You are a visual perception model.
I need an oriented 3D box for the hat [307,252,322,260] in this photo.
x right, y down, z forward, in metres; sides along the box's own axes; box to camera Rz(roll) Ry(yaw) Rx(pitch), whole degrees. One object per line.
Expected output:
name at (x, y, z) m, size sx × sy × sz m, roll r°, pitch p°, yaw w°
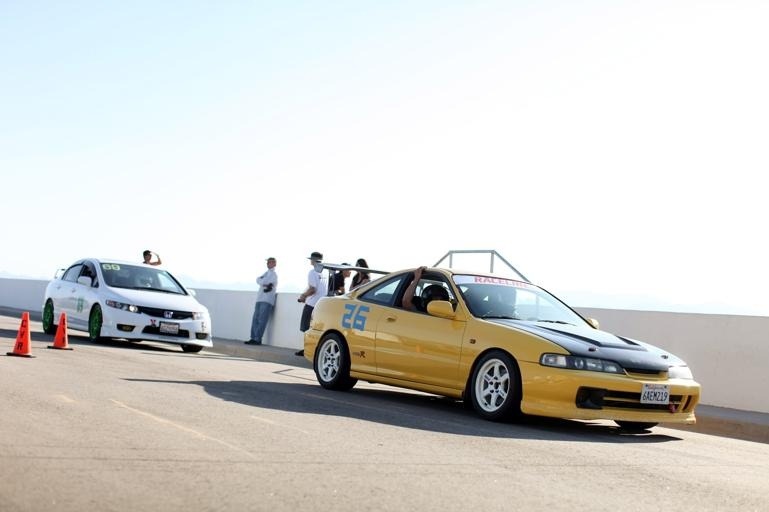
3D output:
hat at (-1.596, 0.010, 12.922) m, size 0.385 × 0.150 × 0.426 m, roll 2°, pitch 1°, yaw 7°

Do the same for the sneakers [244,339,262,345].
sneakers at (-4.305, 2.822, 18.438) m, size 0.406 × 0.158 × 0.211 m, roll 6°, pitch 2°, yaw -4°

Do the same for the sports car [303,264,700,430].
sports car at (1.275, 1.330, 8.636) m, size 5.304 × 1.737 × 2.571 m, roll -1°, pitch -7°, yaw 44°

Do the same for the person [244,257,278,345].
person at (-3.979, 1.487, 18.476) m, size 0.848 × 2.801 × 1.325 m, roll 3°, pitch -4°, yaw -12°
